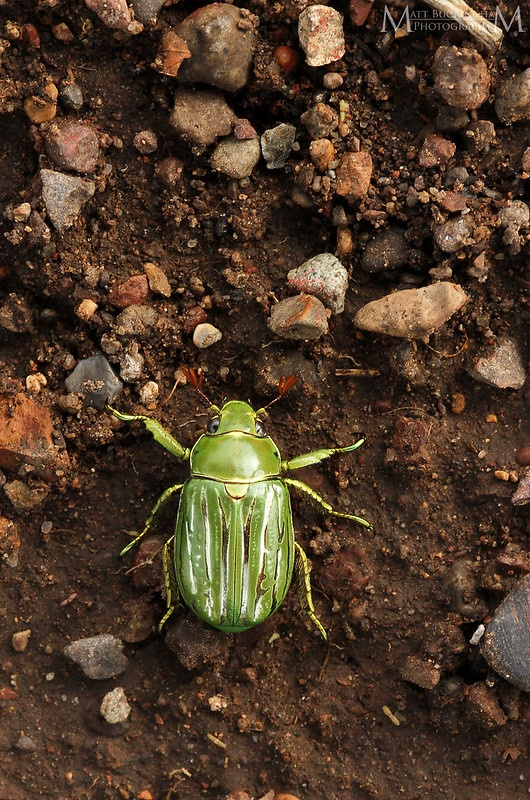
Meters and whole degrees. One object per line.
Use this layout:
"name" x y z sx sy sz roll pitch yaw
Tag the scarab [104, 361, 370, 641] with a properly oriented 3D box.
"scarab" -0.151 0.719 4.445 0.884 1.008 1.074 -25 57 -35
